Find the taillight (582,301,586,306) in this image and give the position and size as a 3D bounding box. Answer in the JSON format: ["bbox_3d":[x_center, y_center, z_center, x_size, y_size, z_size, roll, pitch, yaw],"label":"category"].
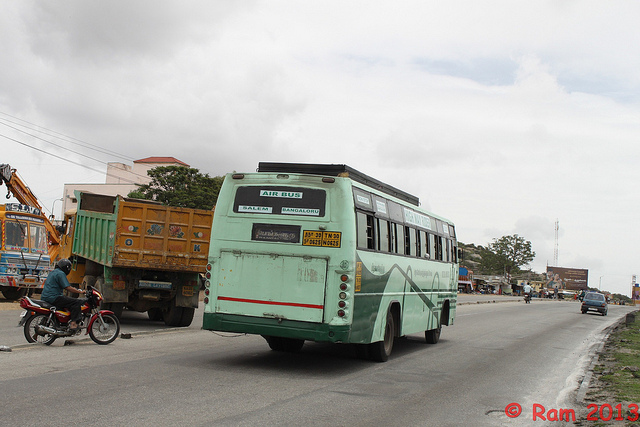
[{"bbox_3d":[26.635,9.017,45.587,0.258,0.433,0.330,3,-3,-39],"label":"taillight"}]

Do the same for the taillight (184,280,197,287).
[{"bbox_3d":[-4.794,2.602,16.836,0.215,0.105,0.285,3,-14,-17],"label":"taillight"}]

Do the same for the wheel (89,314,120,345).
[{"bbox_3d":[-5.871,3.131,12.309,0.729,0.810,0.154,-11,-6,-38],"label":"wheel"}]

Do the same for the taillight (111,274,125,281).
[{"bbox_3d":[-7.110,2.262,15.993,0.266,0.091,0.200,1,-1,7],"label":"taillight"}]

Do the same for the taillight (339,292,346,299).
[{"bbox_3d":[0.518,1.803,9.948,0.121,0.124,0.052,18,2,-3],"label":"taillight"}]

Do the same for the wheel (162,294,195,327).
[{"bbox_3d":[-5.258,3.554,16.893,0.479,1.260,1.236,1,2,-28],"label":"wheel"}]

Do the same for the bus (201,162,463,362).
[{"bbox_3d":[2.015,1.755,14.046,3.180,5.626,11.239,-1,-3,40],"label":"bus"}]

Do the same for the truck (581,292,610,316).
[{"bbox_3d":[28.234,9.142,46.537,1.797,1.355,3.142,-1,2,25],"label":"truck"}]

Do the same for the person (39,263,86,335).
[{"bbox_3d":[-6.793,2.216,11.923,0.996,1.836,0.269,1,-2,-7],"label":"person"}]

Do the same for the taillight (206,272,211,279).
[{"bbox_3d":[-2.614,1.467,10.690,0.109,0.111,0.026,3,3,2],"label":"taillight"}]

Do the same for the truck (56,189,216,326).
[{"bbox_3d":[-7.719,1.732,18.622,4.226,4.579,7.868,7,-2,-40],"label":"truck"}]

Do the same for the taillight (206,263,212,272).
[{"bbox_3d":[-2.611,1.277,10.749,0.251,0.258,0.041,-6,-3,41],"label":"taillight"}]

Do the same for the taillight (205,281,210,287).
[{"bbox_3d":[-2.634,1.659,10.708,0.149,0.153,0.039,-1,3,-5],"label":"taillight"}]

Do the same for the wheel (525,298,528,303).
[{"bbox_3d":[29.312,12.207,63.877,0.226,0.687,0.953,0,-3,35],"label":"wheel"}]

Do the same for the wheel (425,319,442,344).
[{"bbox_3d":[4.092,4.241,16.312,0.359,1.144,1.122,4,14,25],"label":"wheel"}]

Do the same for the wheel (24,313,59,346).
[{"bbox_3d":[-7.384,3.005,11.975,0.683,0.839,1.117,3,-3,-38],"label":"wheel"}]

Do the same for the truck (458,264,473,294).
[{"bbox_3d":[33.531,15.238,103.526,2.780,5.971,12.118,0,-3,18],"label":"truck"}]
